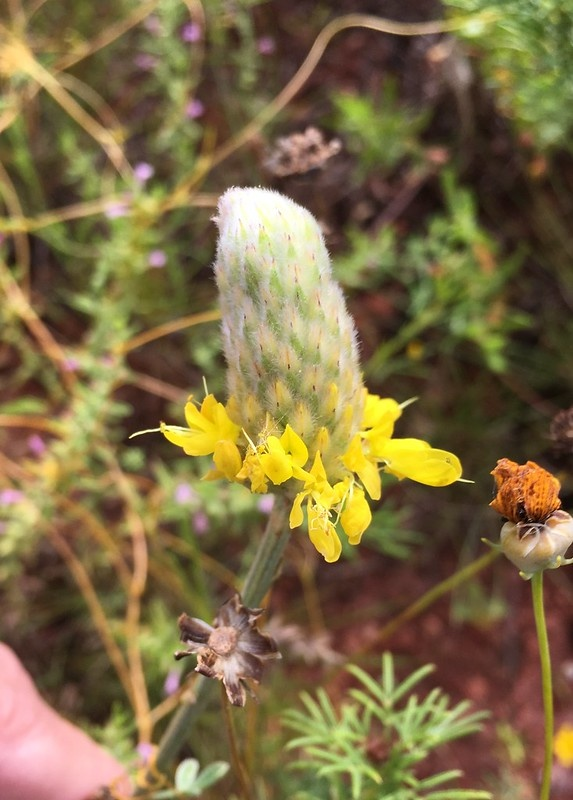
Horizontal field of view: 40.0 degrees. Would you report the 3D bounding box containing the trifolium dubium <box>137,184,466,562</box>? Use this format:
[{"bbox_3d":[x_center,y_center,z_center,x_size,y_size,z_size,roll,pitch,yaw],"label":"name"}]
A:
[{"bbox_3d":[0.014,-0.018,0.928,0.286,0.444,0.260,-20,27,-27],"label":"trifolium dubium"}]
